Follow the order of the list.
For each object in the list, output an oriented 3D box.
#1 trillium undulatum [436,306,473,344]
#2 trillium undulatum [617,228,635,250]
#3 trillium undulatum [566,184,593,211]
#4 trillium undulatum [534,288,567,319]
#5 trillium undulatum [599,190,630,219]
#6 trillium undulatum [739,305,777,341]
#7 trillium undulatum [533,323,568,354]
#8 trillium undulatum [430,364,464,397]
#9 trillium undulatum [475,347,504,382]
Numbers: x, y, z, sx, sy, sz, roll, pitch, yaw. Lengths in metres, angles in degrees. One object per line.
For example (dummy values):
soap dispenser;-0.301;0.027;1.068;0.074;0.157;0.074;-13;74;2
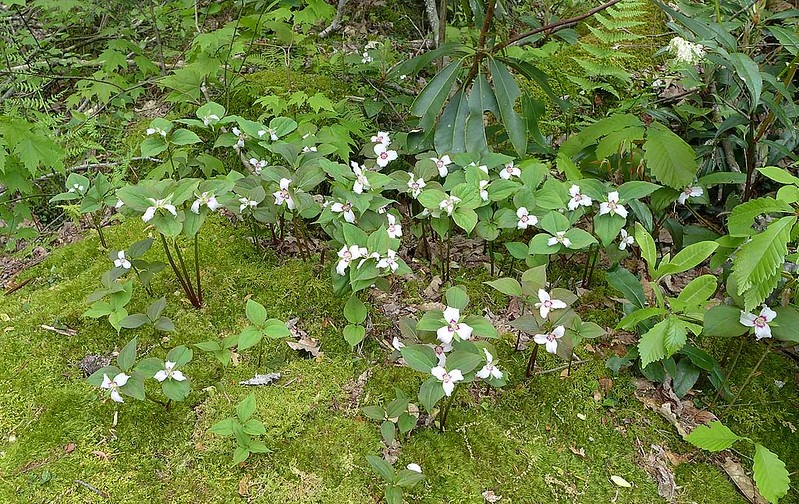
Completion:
trillium undulatum;0.434;0.625;4.522;0.243;0.330;0.248;18;48;28
trillium undulatum;2.106;-0.139;5.409;0.179;0.178;0.053;-48;15;12
trillium undulatum;1.612;-0.482;5.143;0.219;0.066;0.219;-44;80;6
trillium undulatum;1.227;0.400;4.695;0.255;0.195;0.176;-18;42;-9
trillium undulatum;1.890;-0.448;5.097;0.221;0.203;0.250;0;43;11
trillium undulatum;2.930;0.557;4.684;0.186;0.207;0.083;-10;33;39
trillium undulatum;1.241;0.725;4.700;0.250;0.229;0.124;-8;41;2
trillium undulatum;0.363;0.975;4.418;0.243;0.156;0.168;2;43;13
trillium undulatum;0.710;0.952;4.497;0.132;0.317;0.244;-13;83;23
